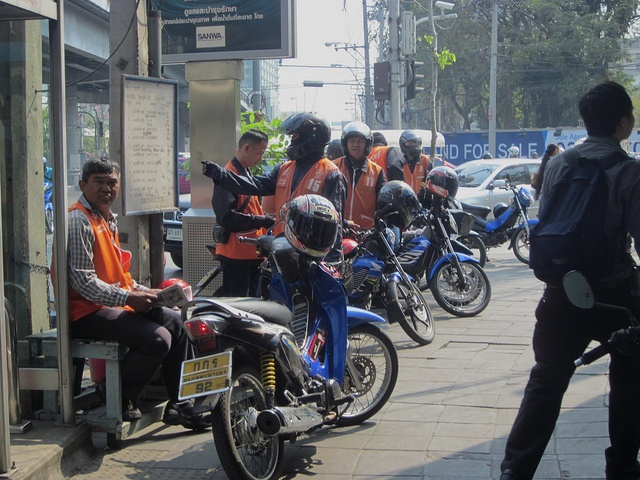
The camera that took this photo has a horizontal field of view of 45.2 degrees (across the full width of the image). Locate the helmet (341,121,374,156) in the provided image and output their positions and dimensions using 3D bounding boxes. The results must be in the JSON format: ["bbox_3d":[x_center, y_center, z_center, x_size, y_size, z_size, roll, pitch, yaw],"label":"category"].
[{"bbox_3d":[0.405,-1.165,8.786,0.285,0.368,0.405,1,19,5],"label":"helmet"}]

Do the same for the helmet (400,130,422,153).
[{"bbox_3d":[1.385,-1.483,11.630,0.317,0.319,0.272,-2,12,-9],"label":"helmet"}]

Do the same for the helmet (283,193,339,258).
[{"bbox_3d":[-0.085,-0.108,5.643,0.325,0.378,0.420,5,9,-25],"label":"helmet"}]

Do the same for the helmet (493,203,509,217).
[{"bbox_3d":[3.263,-0.530,13.899,0.272,0.314,0.227,14,2,12],"label":"helmet"}]

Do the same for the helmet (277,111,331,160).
[{"bbox_3d":[-0.146,-0.952,7.031,0.423,0.407,0.359,4,2,-9],"label":"helmet"}]

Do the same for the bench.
[{"bbox_3d":[-1.758,1.013,5.693,0.700,0.675,0.591,9,-13,-40],"label":"bench"}]

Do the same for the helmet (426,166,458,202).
[{"bbox_3d":[1.599,-0.721,9.940,0.419,0.454,0.356,7,2,-9],"label":"helmet"}]

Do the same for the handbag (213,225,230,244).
[{"bbox_3d":[-0.989,-0.056,7.677,0.151,0.165,0.082,2,3,33],"label":"handbag"}]

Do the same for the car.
[{"bbox_3d":[4.074,-1.256,18.421,2.451,1.421,1.726,3,4,14],"label":"car"}]

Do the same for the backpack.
[{"bbox_3d":[1.623,-0.116,4.757,0.599,0.802,0.227,0,5,15],"label":"backpack"}]

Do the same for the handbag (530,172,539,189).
[{"bbox_3d":[1.893,-0.517,6.731,0.030,0.147,0.129,13,11,17],"label":"handbag"}]

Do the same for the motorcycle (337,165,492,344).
[{"bbox_3d":[1.109,0.272,8.705,1.152,1.560,2.146,-15,6,-36],"label":"motorcycle"}]
